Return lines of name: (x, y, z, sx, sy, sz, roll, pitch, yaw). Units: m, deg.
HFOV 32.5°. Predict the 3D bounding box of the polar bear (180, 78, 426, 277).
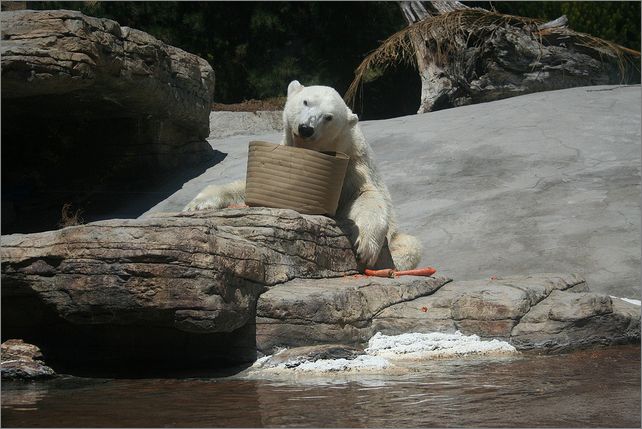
polar bear: (0.452, -0.359, 16.812, 3.225, 5.128, 3.149, -1, -7, 1)
